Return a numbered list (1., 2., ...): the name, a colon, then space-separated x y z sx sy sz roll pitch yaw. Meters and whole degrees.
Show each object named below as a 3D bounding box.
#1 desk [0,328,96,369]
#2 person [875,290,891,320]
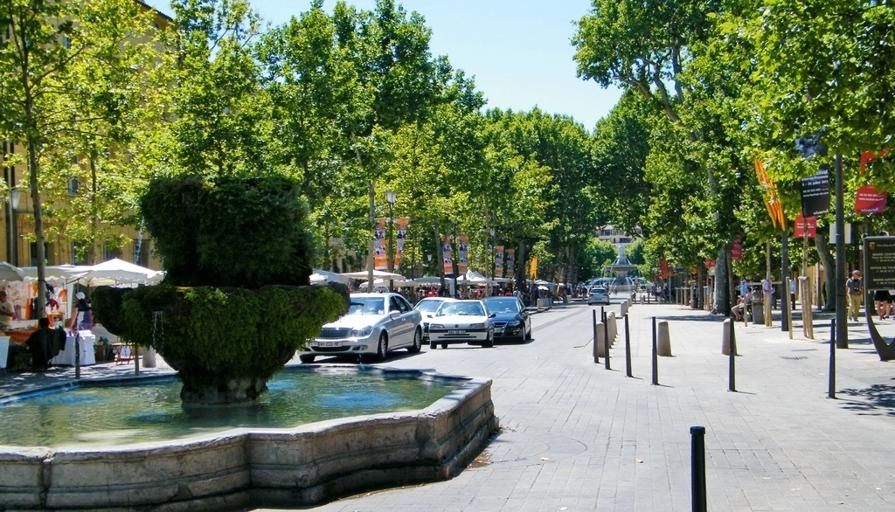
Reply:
1. desk: -12.755 2.935 28.281 2.730 1.238 3.527 0 -4 -21
2. person: 21.458 2.373 43.531 0.746 1.312 2.947 -2 -4 26
